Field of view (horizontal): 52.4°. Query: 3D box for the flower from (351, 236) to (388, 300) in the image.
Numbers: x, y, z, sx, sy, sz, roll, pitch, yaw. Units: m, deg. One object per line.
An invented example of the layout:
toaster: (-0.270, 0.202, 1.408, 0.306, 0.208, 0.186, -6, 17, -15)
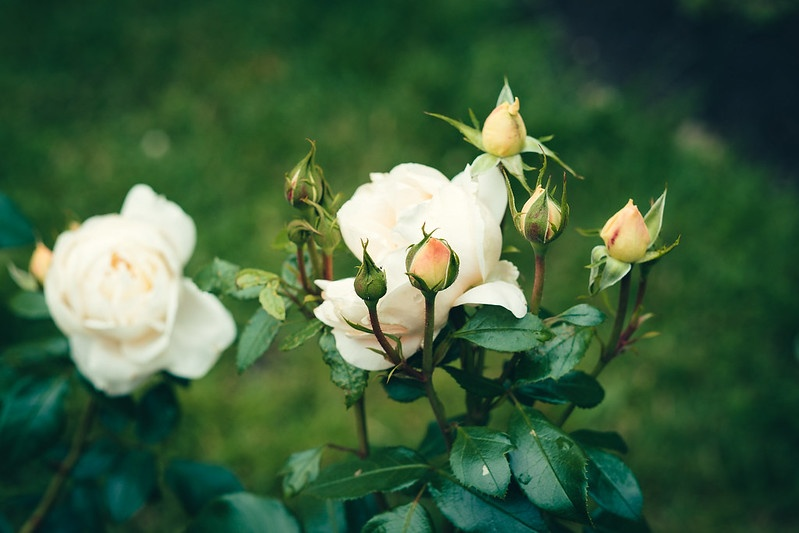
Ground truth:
flower: (-0.031, 0.004, 0.954, 0.039, 0.076, 0.053, 10, 34, -1)

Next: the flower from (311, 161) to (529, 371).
flower: (0.035, -0.032, 1.054, 0.153, 0.238, 0.265, 32, 33, -43)

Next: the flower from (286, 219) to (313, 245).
flower: (-0.124, -0.042, 1.006, 0.028, 0.030, 0.031, -10, 50, 16)

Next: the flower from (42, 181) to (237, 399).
flower: (-0.304, 0.059, 0.987, 0.201, 0.217, 0.091, 42, 6, 15)

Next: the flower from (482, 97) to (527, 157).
flower: (0.132, -0.172, 1.014, 0.055, 0.080, 0.055, 15, 26, 37)
